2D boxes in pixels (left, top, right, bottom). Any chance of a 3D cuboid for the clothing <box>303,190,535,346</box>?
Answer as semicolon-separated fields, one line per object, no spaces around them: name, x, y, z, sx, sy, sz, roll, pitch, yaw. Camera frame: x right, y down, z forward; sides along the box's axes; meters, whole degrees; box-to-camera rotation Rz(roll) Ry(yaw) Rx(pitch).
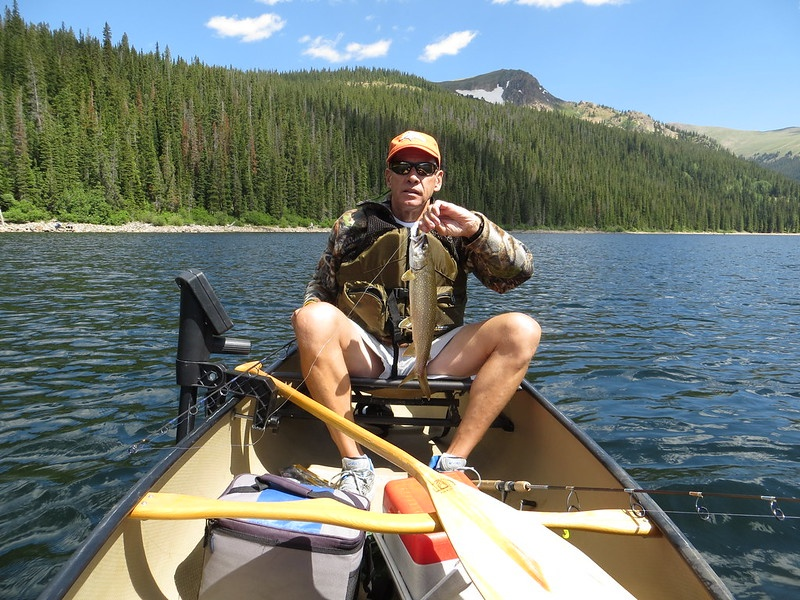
clothing;0.085;-0.166;4.538;1.628;1.056;1.031;4;12;21

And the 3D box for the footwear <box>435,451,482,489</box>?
footwear;0.382;1.137;3.862;0.146;0.176;0.427;15;10;-13
